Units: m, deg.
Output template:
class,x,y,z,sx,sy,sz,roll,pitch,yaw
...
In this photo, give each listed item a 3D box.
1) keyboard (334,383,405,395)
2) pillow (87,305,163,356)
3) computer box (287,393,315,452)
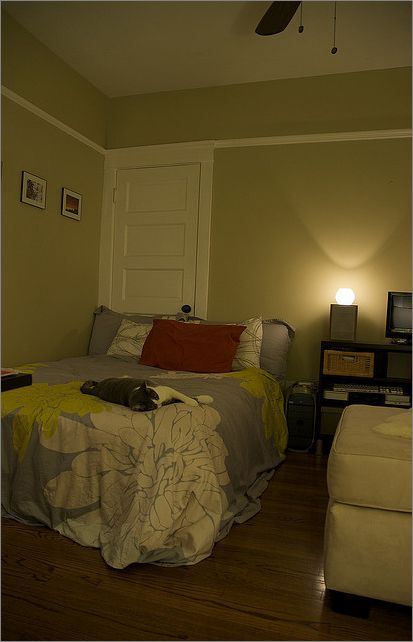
class,x,y,z,sx,sy,sz,roll,pitch,yaw
keyboard,1.069,0.465,3.126,0.443,0.062,0.165,4,-2,8
pillow,-0.707,0.094,3.663,0.375,0.117,0.406,10,45,-9
computer box,0.651,0.709,3.376,0.246,0.419,0.248,3,0,11
